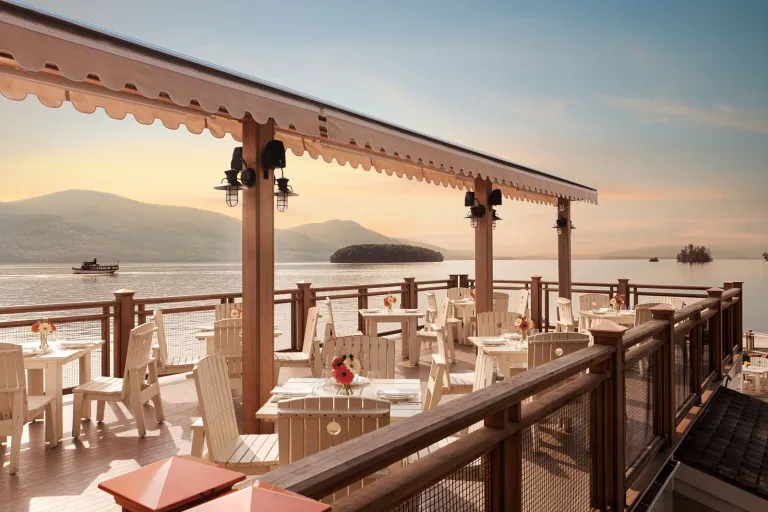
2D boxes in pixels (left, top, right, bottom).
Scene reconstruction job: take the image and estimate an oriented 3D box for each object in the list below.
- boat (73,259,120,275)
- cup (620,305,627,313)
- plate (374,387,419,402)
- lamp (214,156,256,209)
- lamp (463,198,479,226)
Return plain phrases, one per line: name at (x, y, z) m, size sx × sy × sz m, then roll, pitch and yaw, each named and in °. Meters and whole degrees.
boat at (-21.288, 0.824, 42.822) m, size 3.191 × 1.317 × 0.883 m, roll 2°, pitch -5°, yaw 13°
cup at (4.969, 1.095, 12.194) m, size 0.157 × 0.159 × 0.087 m, roll -1°, pitch -4°, yaw -2°
plate at (0.169, 1.840, 7.774) m, size 0.558 × 0.153 × 0.224 m, roll -1°, pitch -1°, yaw -1°
lamp at (-2.159, -1.073, 8.472) m, size 0.333 × 0.664 × 0.775 m, roll 0°, pitch -2°, yaw -33°
lamp at (1.759, -0.883, 11.882) m, size 0.253 × 0.651 × 1.035 m, roll -1°, pitch -1°, yaw 7°
